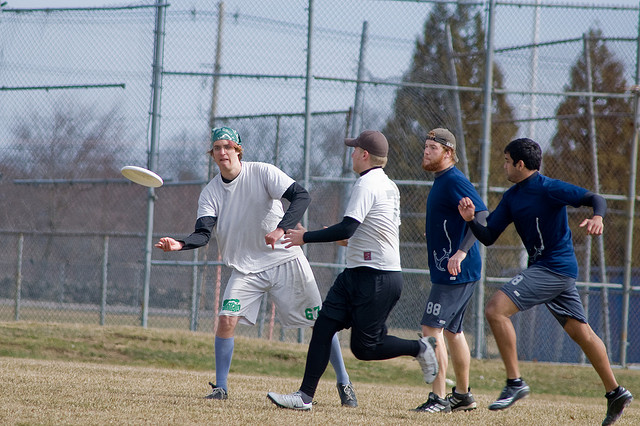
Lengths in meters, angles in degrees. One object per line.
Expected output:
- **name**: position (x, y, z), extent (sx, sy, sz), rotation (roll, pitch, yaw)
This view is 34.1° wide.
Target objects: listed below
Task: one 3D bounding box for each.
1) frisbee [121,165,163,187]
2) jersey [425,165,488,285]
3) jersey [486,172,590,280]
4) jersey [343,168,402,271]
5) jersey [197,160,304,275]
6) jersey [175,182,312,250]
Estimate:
- **frisbee**: position (-2.452, -0.533, 14.480), extent (0.536, 0.271, 0.543), rotation (2, -4, -4)
- **jersey**: position (1.764, 0.175, 13.656), extent (0.698, 1.526, 0.281), rotation (2, -3, 7)
- **jersey**: position (2.836, 0.184, 13.483), extent (1.376, 1.440, 0.748), rotation (-2, 3, 28)
- **jersey**: position (0.753, 0.099, 13.402), extent (0.673, 1.334, 1.206), rotation (5, 2, 31)
- **jersey**: position (-0.901, 0.082, 13.916), extent (1.370, 1.420, 0.868), rotation (-16, 3, 7)
- **jersey**: position (-0.878, -0.091, 13.564), extent (1.557, 0.538, 1.047), rotation (2, 16, -6)
